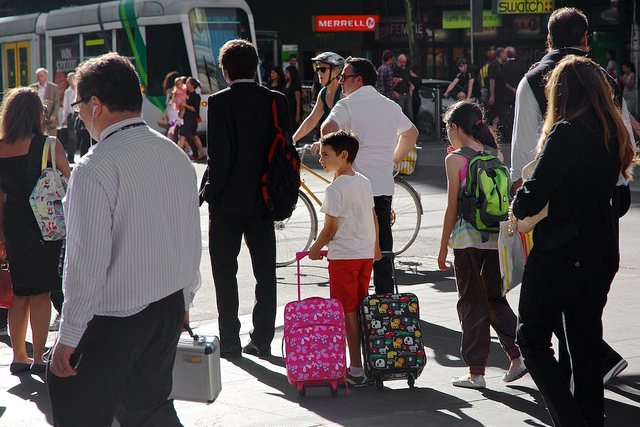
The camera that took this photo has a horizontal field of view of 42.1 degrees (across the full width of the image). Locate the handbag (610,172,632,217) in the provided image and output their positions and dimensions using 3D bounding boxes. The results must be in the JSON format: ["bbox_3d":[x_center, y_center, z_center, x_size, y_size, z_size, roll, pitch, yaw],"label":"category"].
[{"bbox_3d":[2.095,-0.133,5.809,0.067,0.309,0.208,11,12,40],"label":"handbag"}]

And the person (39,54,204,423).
[{"bbox_3d":[-1.106,0.184,4.689,0.904,2.095,0.391,-5,10,-18],"label":"person"}]

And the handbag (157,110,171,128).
[{"bbox_3d":[-3.760,-2.305,20.334,0.352,0.440,0.423,3,4,2],"label":"handbag"}]

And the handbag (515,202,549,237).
[{"bbox_3d":[1.346,-0.022,5.281,0.171,0.081,0.232,15,-26,6],"label":"handbag"}]

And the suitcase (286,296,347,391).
[{"bbox_3d":[-0.026,0.961,6.440,0.488,0.763,0.271,-2,12,-2],"label":"suitcase"}]

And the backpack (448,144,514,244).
[{"bbox_3d":[1.285,-0.163,6.502,0.452,0.701,0.405,-7,10,-27],"label":"backpack"}]

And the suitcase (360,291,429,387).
[{"bbox_3d":[0.571,0.982,6.406,0.461,0.652,0.274,-2,10,-1],"label":"suitcase"}]

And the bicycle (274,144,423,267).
[{"bbox_3d":[0.171,-0.147,9.994,2.318,1.510,0.892,-3,16,-13],"label":"bicycle"}]

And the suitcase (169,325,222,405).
[{"bbox_3d":[-0.803,0.887,5.076,0.370,0.547,0.199,4,21,14],"label":"suitcase"}]

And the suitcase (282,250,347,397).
[{"bbox_3d":[-0.042,0.840,6.463,0.501,1.176,0.224,-4,-22,2],"label":"suitcase"}]

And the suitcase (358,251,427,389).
[{"bbox_3d":[0.554,0.808,6.573,0.464,1.220,0.240,0,-32,-8],"label":"suitcase"}]

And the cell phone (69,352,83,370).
[{"bbox_3d":[-1.329,0.815,4.564,0.074,0.080,0.018,0,14,-34],"label":"cell phone"}]

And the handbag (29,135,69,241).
[{"bbox_3d":[-2.142,-0.248,6.793,0.332,0.852,0.554,-5,14,-13],"label":"handbag"}]
